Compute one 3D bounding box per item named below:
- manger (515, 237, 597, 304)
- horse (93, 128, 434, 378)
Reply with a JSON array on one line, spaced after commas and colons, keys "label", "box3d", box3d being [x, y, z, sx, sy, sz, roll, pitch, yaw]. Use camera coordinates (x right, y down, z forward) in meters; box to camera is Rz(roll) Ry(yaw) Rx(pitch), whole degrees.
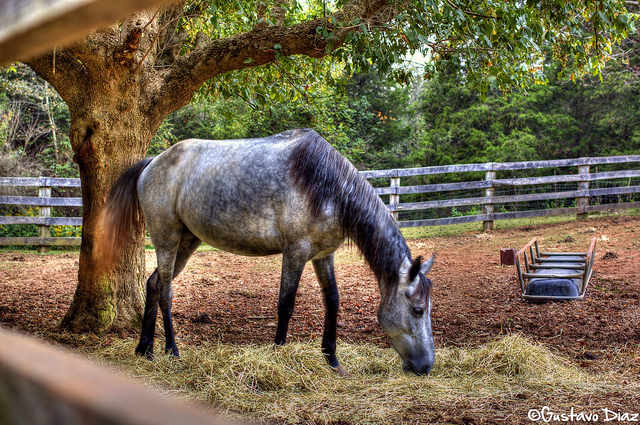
[{"label": "manger", "box3d": [4.682, 1.039, 16.156, 1.374, 0.795, 3.039, 2, 8, 19]}, {"label": "horse", "box3d": [-0.982, 0.695, 14.021, 6.603, 3.981, 1.586, 7, 5, 24]}]
